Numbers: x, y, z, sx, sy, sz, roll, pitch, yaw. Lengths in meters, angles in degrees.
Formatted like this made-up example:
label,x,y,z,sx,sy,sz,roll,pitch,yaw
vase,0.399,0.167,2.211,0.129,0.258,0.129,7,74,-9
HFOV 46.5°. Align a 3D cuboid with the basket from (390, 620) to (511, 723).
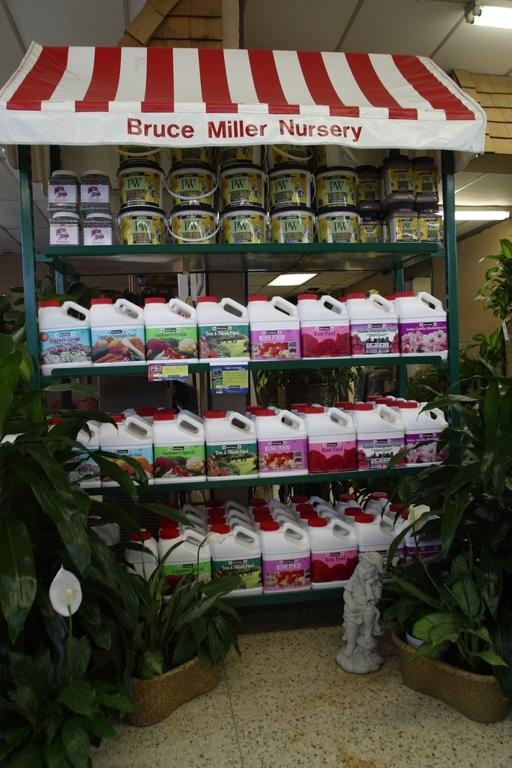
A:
label,x,y,z,sx,sy,sz,roll,pitch,yaw
basket,0.603,0.876,1.849,0.219,0.112,0.293,1,-8,-37
